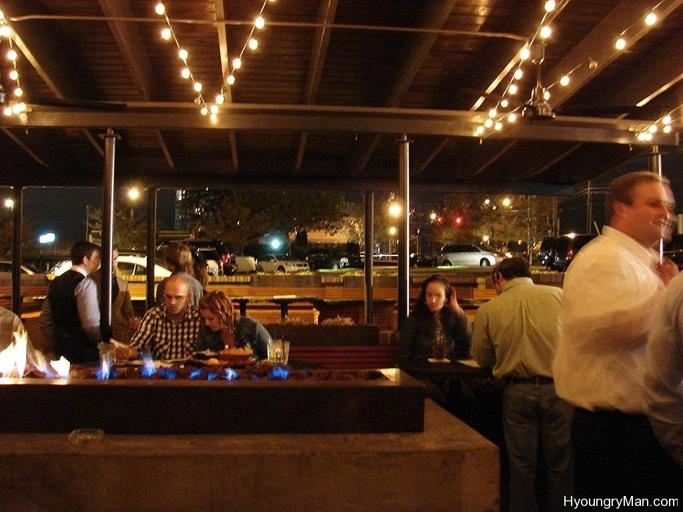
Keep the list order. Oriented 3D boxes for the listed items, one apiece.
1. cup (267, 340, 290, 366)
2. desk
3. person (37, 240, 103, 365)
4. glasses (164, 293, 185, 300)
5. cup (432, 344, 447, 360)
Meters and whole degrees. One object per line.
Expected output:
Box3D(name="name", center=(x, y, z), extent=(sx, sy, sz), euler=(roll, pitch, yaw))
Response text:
Box3D(name="cup", center=(-0.410, 0.635, 4.367), extent=(0.153, 0.168, 0.159), euler=(-1, -5, 0))
Box3D(name="desk", center=(0.974, 1.120, 5.816), extent=(0.623, 0.324, 0.950), euler=(1, -3, -5))
Box3D(name="person", center=(-2.595, 0.435, 6.270), extent=(0.524, 1.136, 0.686), euler=(-2, 3, -24))
Box3D(name="glasses", center=(-1.332, 0.321, 5.195), extent=(0.138, 0.041, 0.038), euler=(-1, 3, -2))
Box3D(name="cup", center=(0.868, 0.828, 5.711), extent=(0.133, 0.116, 0.098), euler=(-1, 3, -2))
